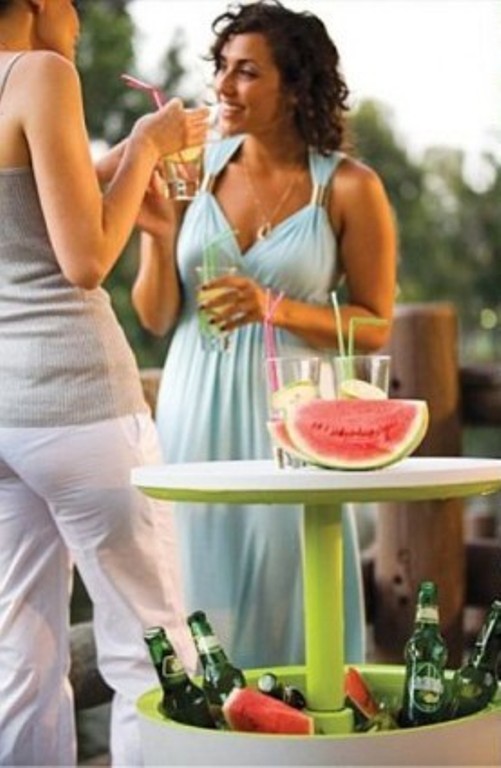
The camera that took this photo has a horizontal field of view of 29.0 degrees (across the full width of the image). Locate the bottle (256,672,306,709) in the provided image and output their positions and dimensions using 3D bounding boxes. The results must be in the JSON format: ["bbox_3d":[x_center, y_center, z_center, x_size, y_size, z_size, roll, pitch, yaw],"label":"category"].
[{"bbox_3d":[0.039,0.375,1.187,0.055,0.020,0.028,23,18,10],"label":"bottle"}]

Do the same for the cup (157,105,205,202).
[{"bbox_3d":[-0.101,-0.364,1.538,0.061,0.140,0.068,6,11,30],"label":"cup"}]

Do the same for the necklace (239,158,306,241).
[{"bbox_3d":[0.033,-0.305,1.624,0.094,0.136,0.075,-3,6,6],"label":"necklace"}]
